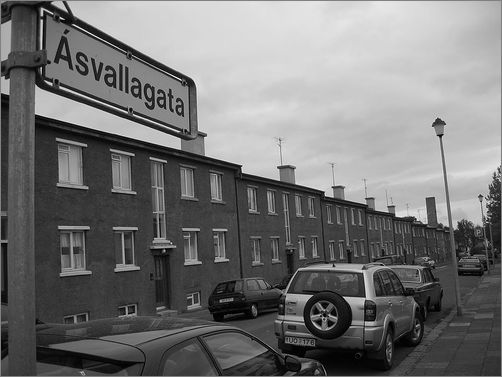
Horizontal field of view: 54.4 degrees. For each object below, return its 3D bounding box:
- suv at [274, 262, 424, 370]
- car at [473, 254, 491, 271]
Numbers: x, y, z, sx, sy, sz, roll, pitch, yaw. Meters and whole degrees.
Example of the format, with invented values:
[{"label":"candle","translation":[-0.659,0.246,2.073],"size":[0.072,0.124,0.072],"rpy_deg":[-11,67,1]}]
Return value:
[{"label":"suv","translation":[2.117,2.328,9.730],"size":[1.591,1.308,2.751],"rpy_deg":[-4,-5,29]},{"label":"car","translation":[22.404,7.495,47.145],"size":[1.749,1.444,4.076],"rpy_deg":[-5,-5,23]}]
